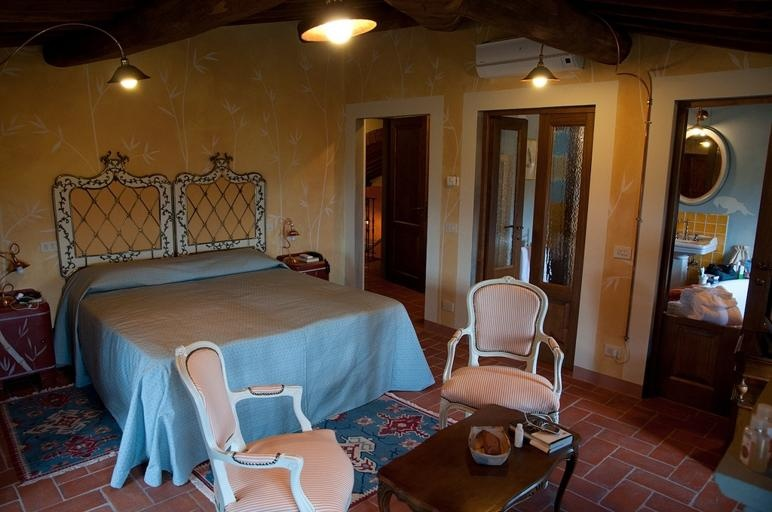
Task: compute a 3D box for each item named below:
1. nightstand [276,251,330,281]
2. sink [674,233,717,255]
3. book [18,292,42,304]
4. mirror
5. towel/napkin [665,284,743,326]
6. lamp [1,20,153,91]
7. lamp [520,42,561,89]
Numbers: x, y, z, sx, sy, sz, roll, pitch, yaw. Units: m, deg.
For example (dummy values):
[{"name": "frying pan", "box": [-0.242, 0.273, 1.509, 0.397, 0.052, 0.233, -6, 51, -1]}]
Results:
[{"name": "nightstand", "box": [-1.102, 0.069, 6.674, 0.524, 0.518, 0.382, -11, 18, -38]}, {"name": "sink", "box": [3.182, -0.099, 5.169, 0.433, 0.198, 0.320, 2, 12, 19]}, {"name": "book", "box": [-3.543, 0.407, 4.991, 0.162, 0.080, 0.215, 1, -1, -32]}, {"name": "mirror", "box": [3.251, -0.927, 5.213, 0.581, 0.796, 0.243, -7, 14, -24]}, {"name": "towel/napkin", "box": [2.971, 0.466, 4.674, 0.400, 0.122, 0.393, -5, 12, -18]}, {"name": "lamp", "box": [-2.925, -1.855, 4.653, 1.174, 0.545, 0.377, 8, 24, -10]}, {"name": "lamp", "box": [1.473, -1.817, 4.774, 0.239, 0.404, 0.704, 3, 13, 21]}]
